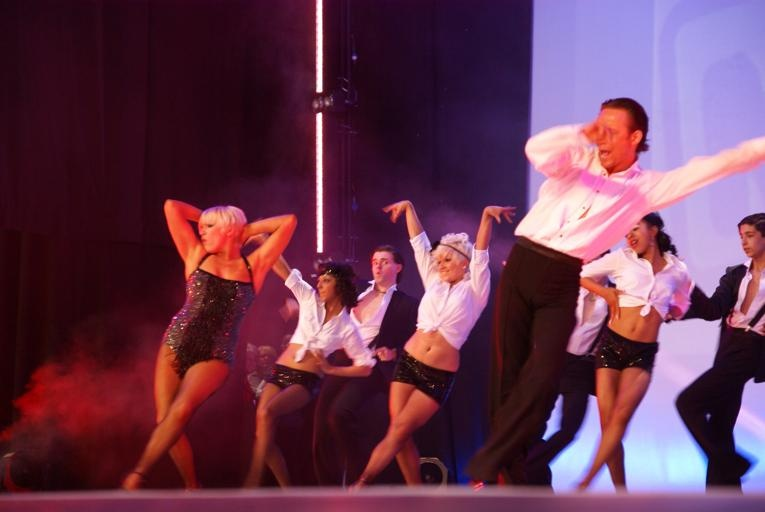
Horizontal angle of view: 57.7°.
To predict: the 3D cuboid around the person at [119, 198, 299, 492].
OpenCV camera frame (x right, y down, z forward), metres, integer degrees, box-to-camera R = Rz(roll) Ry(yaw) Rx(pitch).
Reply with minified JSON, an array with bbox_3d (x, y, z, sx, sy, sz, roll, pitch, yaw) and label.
[{"bbox_3d":[-1.475,0.695,5.733,1.206,2.250,0.417,1,5,-23],"label":"person"}]
